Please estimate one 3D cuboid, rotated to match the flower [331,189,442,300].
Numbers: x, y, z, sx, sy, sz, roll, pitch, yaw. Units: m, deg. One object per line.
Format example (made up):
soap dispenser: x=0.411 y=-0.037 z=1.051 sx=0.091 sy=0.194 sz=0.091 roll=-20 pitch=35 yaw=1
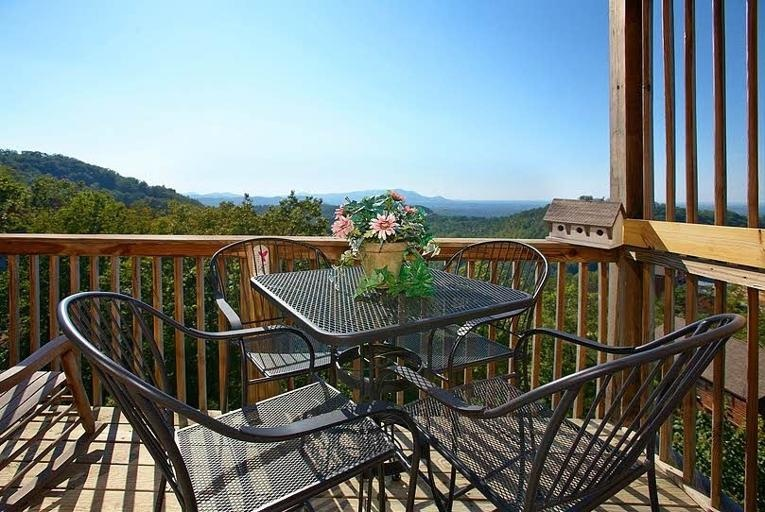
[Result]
flower: x=-0.014 y=-0.045 z=2.751 sx=0.492 sy=0.512 sz=0.551 roll=0 pitch=-1 yaw=-2
